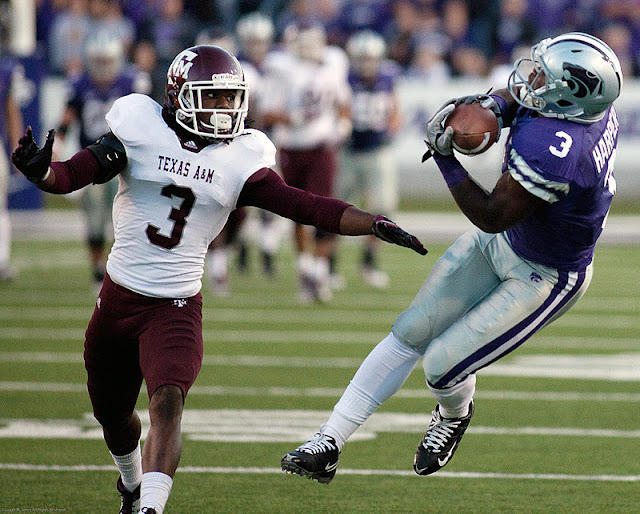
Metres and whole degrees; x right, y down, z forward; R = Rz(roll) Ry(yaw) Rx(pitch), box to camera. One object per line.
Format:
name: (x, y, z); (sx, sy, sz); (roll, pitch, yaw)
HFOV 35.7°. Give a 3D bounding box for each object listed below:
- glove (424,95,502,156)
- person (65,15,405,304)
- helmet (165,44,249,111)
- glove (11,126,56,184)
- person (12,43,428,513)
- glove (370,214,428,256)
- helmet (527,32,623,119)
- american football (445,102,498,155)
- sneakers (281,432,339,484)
glove: (0.548, -0.496, 3.859); (0.254, 0.165, 0.286); (2, 19, 19)
person: (-0.378, -0.340, 3.828); (0.948, 0.805, 1.111); (6, 11, -43)
helmet: (-0.452, -0.665, 3.873); (0.264, 0.225, 0.325); (2, -5, -34)
glove: (-0.996, -0.350, 3.515); (0.181, 0.173, 0.094); (11, 2, 10)
person: (-0.478, 0.137, 3.670); (0.954, 1.811, 0.691); (-9, 14, -43)
glove: (0.279, -0.075, 3.651); (0.213, 0.064, 0.122); (13, 29, 11)
helmet: (0.988, -0.699, 3.901); (0.416, 0.267, 0.299); (16, 24, 17)
american football: (0.598, -0.491, 3.942); (0.207, 0.161, 0.220); (1, -11, 7)
sneakers: (-0.020, 0.805, 4.031); (0.120, 0.153, 0.319); (31, 0, 21)
